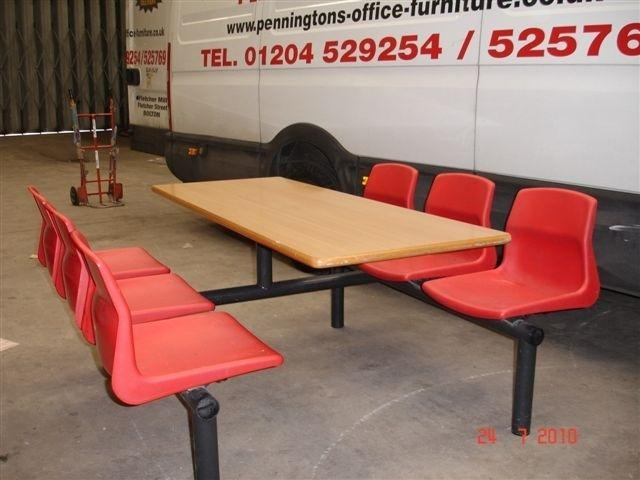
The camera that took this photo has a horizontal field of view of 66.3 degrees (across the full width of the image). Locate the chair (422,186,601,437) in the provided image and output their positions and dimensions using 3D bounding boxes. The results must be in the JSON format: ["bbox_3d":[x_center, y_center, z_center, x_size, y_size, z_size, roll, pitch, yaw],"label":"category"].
[{"bbox_3d":[1.024,0.318,2.617,0.691,1.146,0.749,17,22,42],"label":"chair"}]

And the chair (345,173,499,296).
[{"bbox_3d":[0.648,-0.090,3.212,0.860,0.690,0.665,-3,8,-30],"label":"chair"}]

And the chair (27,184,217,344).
[{"bbox_3d":[-1.389,0.139,3.488,0.746,0.464,1.422,-4,21,-28],"label":"chair"}]

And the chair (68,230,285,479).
[{"bbox_3d":[-0.596,0.480,2.427,0.966,1.348,0.985,-7,21,-22],"label":"chair"}]
